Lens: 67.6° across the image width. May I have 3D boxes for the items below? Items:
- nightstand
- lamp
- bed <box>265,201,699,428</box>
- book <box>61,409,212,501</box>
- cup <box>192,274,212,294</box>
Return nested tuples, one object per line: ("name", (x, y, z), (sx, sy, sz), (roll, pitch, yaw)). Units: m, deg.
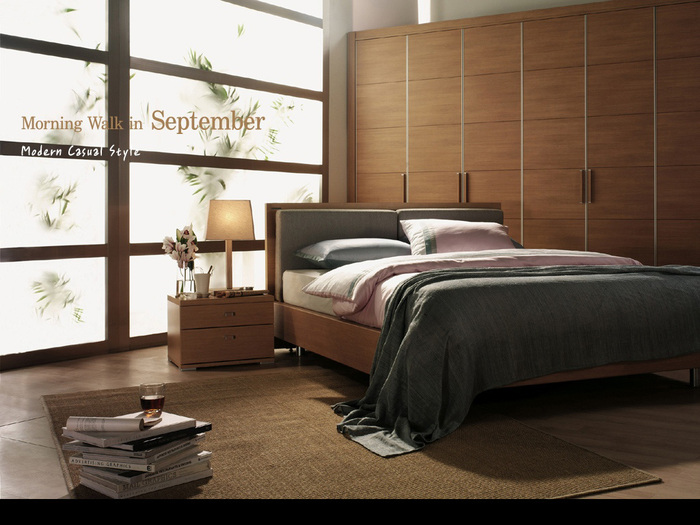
("nightstand", (-0.962, 0.449, 3.797), (0.753, 0.402, 0.615), (1, -2, -31))
("lamp", (-0.945, -0.148, 4.055), (0.331, 0.660, 0.709), (-1, 3, -14))
("bed", (0.329, 0.120, 3.657), (2.013, 0.812, 1.896), (-1, 0, -23))
("book", (-0.777, 0.671, 1.870), (0.388, 0.158, 0.413), (-3, 4, -39))
("cup", (-1.072, 0.150, 3.754), (0.105, 0.152, 0.161), (-2, 3, -17))
